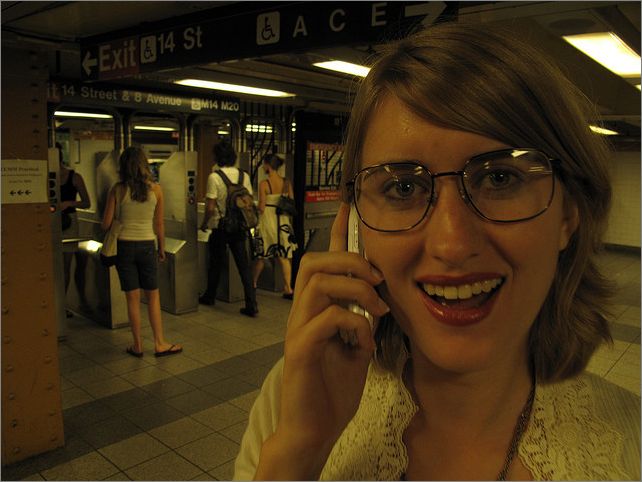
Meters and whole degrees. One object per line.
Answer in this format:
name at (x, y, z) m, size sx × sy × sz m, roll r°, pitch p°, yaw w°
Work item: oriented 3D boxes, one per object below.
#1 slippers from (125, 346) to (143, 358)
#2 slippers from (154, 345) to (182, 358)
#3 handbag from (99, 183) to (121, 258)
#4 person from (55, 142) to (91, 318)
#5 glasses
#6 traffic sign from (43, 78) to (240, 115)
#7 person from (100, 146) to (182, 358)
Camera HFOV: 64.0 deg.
slippers at (-2.002, 1.329, 5.501) m, size 0.231 × 0.090 × 0.086 m, roll 19°, pitch 15°, yaw 40°
slippers at (-1.642, 1.329, 5.488) m, size 0.273 × 0.080 × 0.106 m, roll -7°, pitch 6°, yaw -40°
handbag at (-2.108, -0.099, 5.131) m, size 0.196 × 0.810 × 0.239 m, roll 2°, pitch 8°, yaw 9°
person at (-3.166, -0.010, 6.596) m, size 0.353 × 2.466 × 1.107 m, roll -3°, pitch 9°, yaw -27°
glasses at (0.250, -0.094, 1.017) m, size 0.389 × 0.184 × 0.095 m, roll 5°, pitch 9°, yaw 25°
traffic sign at (-2.248, -1.917, 6.689) m, size 2.435 × 0.302 × 0.219 m, roll -6°, pitch 11°, yaw -40°
person at (-1.880, 0.208, 5.302) m, size 0.661 × 2.352 × 0.446 m, roll -4°, pitch 9°, yaw -31°
